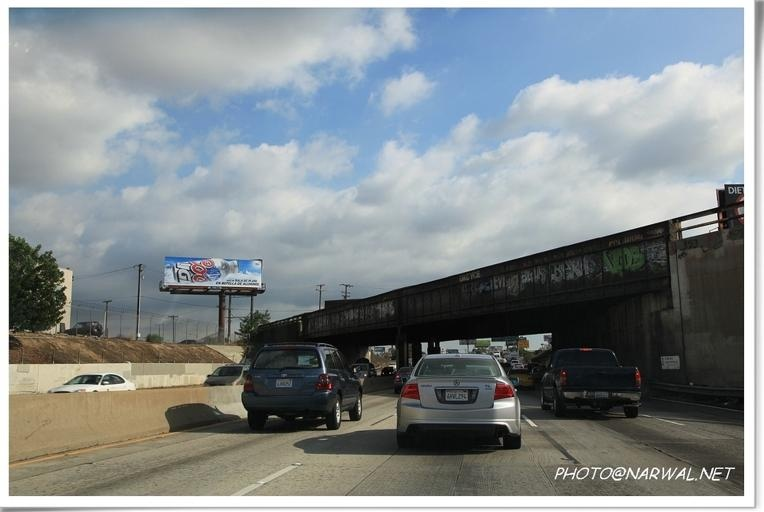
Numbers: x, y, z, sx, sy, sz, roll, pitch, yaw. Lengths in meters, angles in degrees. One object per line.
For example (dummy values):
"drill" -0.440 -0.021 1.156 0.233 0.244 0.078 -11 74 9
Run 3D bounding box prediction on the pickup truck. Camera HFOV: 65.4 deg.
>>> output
"pickup truck" 7.343 4.405 21.418 1.957 1.567 4.047 1 -13 6

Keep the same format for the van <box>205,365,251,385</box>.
"van" -8.572 6.427 32.994 1.548 1.248 2.576 -3 -16 9

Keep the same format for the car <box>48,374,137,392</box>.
"car" -14.213 6.168 29.249 2.055 0.860 4.737 -1 -13 -4

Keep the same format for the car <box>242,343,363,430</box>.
"car" -2.132 3.895 17.936 2.142 2.582 3.666 -10 -15 37
